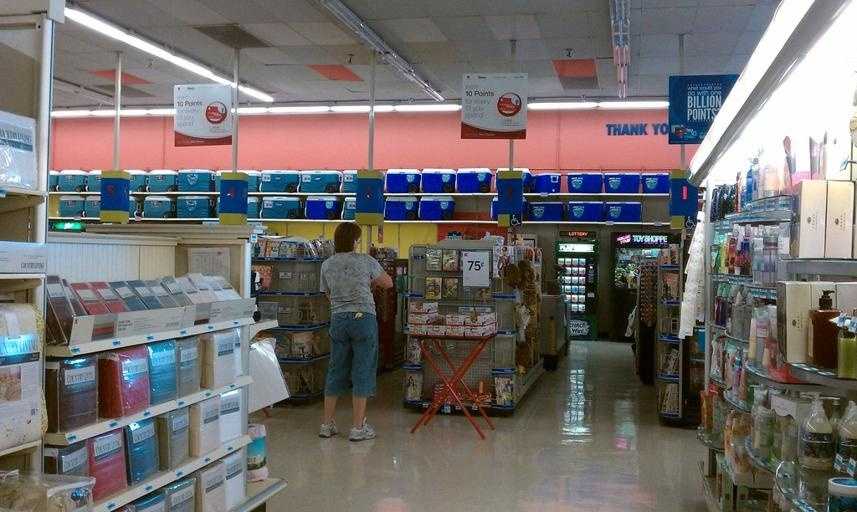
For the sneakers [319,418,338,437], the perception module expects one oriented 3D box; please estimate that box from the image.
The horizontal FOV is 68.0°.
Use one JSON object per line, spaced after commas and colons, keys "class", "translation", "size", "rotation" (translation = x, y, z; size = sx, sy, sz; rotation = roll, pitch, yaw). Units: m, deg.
{"class": "sneakers", "translation": [-1.111, 1.928, 7.086], "size": [0.106, 0.124, 0.273], "rotation": [0, 1, 13]}
